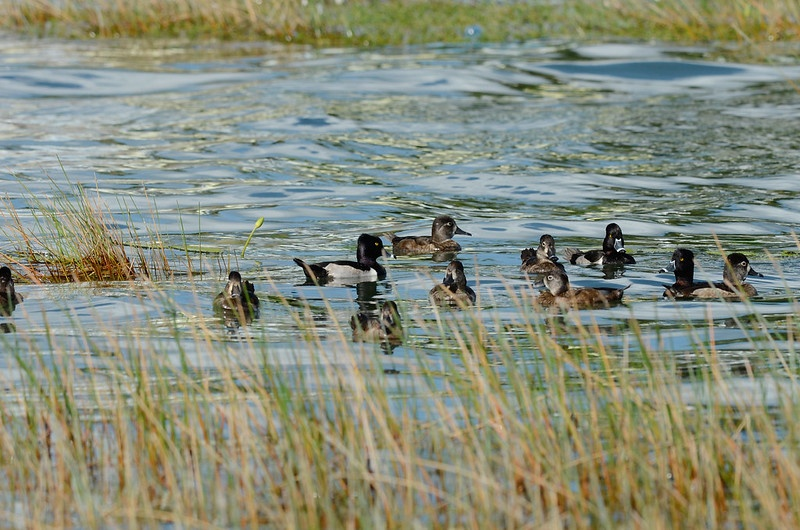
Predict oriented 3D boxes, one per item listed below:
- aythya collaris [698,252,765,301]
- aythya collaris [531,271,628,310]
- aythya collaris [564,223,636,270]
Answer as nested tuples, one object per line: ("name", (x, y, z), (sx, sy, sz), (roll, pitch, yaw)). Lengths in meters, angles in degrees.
("aythya collaris", (6.573, 0.255, 21.794), (1.734, 0.899, 0.871), (-9, 18, -32))
("aythya collaris", (3.564, 0.494, 21.921), (2.091, 0.646, 0.653), (0, 13, -13))
("aythya collaris", (4.391, -0.440, 24.369), (1.530, 0.973, 0.693), (12, 28, 35))
